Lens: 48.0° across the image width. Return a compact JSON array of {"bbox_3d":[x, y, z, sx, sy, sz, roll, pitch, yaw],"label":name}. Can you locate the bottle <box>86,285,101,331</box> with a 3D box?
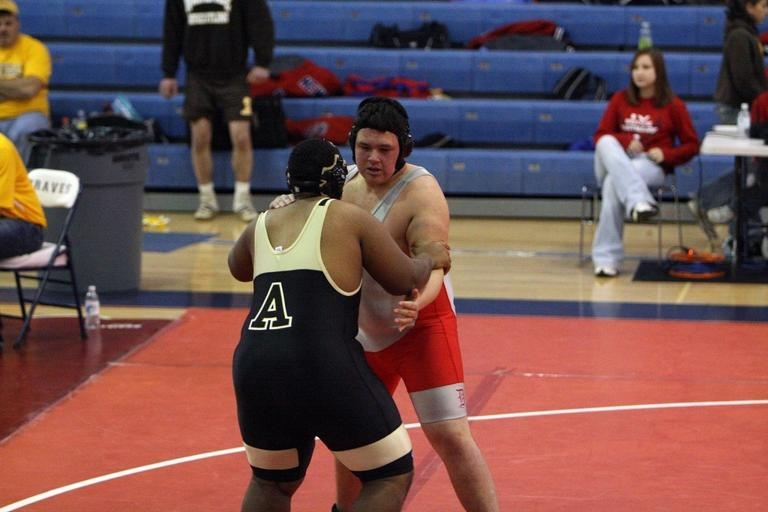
[{"bbox_3d":[-2.182,0.367,6.484,0.108,0.316,0.307,-1,8,-18],"label":"bottle"}]

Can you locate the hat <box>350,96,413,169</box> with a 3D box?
[{"bbox_3d":[0.014,-0.523,3.774,0.248,0.287,0.285,4,-8,2],"label":"hat"}]

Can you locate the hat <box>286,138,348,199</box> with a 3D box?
[{"bbox_3d":[-0.260,-0.381,3.557,0.225,0.244,0.244,11,24,33],"label":"hat"}]

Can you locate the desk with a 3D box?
[{"bbox_3d":[3.055,-0.497,7.597,0.533,1.306,1.108,5,8,22],"label":"desk"}]

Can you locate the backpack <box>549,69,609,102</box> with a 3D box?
[{"bbox_3d":[2.420,-2.091,10.645,0.558,0.339,0.257,-9,7,1],"label":"backpack"}]

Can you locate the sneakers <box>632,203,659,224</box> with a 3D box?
[{"bbox_3d":[2.257,-0.383,7.497,0.232,0.163,0.189,6,9,32],"label":"sneakers"}]

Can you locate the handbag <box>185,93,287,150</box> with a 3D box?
[{"bbox_3d":[-1.684,-1.585,10.649,1.079,0.610,1.100,-2,3,-41],"label":"handbag"}]

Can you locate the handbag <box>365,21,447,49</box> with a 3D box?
[{"bbox_3d":[0.322,-2.858,11.247,0.766,0.284,0.451,0,1,8],"label":"handbag"}]
